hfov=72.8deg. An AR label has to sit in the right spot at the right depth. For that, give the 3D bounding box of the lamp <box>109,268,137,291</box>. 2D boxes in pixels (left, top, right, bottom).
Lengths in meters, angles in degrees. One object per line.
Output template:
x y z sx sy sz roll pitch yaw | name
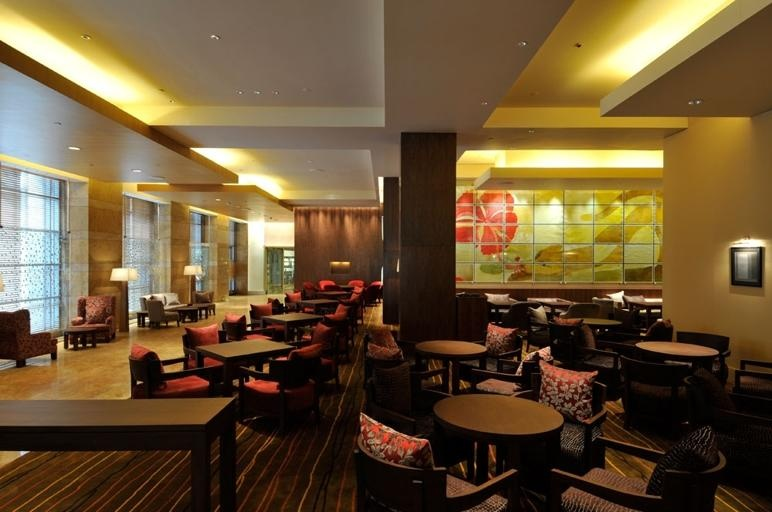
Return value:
-7.027 0.573 14.015 0.529 0.484 0.536 0 0 32 | lamp
